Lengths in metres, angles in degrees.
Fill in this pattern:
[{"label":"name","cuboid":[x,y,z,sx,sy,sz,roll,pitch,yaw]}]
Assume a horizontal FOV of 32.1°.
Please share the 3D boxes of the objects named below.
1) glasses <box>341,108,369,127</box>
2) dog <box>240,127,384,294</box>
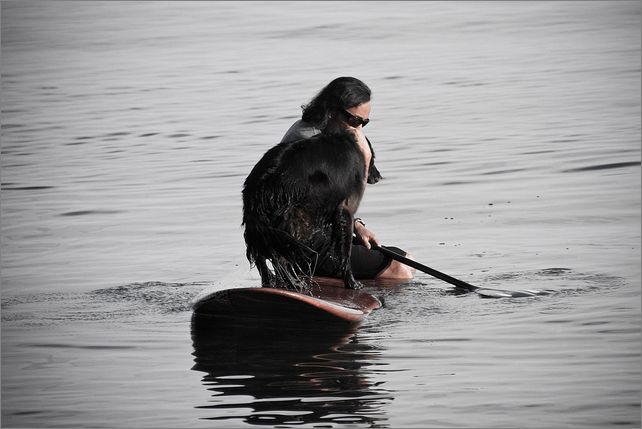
[{"label":"glasses","cuboid":[0.292,-1.057,12.032,0.249,0.069,0.263,36,21,34]},{"label":"dog","cuboid":[-0.193,-0.046,11.609,1.161,1.698,0.866,-8,39,-26]}]
